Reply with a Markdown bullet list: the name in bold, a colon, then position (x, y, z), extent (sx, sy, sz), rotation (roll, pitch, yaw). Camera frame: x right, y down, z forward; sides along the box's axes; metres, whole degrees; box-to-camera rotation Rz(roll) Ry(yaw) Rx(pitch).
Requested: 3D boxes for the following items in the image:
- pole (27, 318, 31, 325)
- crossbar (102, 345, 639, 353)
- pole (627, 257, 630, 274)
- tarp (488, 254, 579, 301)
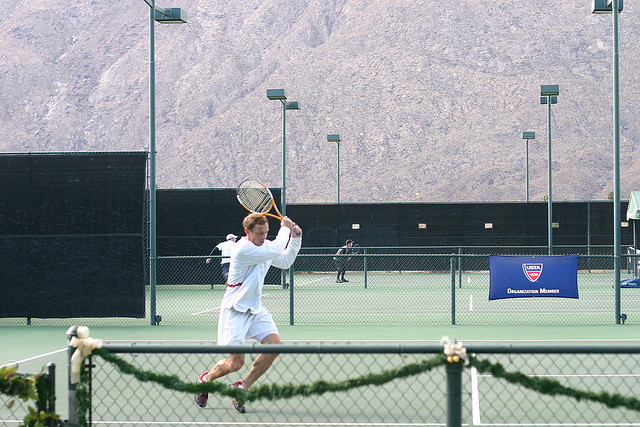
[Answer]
- **pole**: position (-44.070, 16.976, 228.666), extent (0.482, 0.958, 0.232), rotation (-1, 0, -26)
- **crossbar**: position (6.916, 20.329, 219.154), extent (43.648, 1.043, 0.828), rotation (0, -11, 2)
- **pole**: position (48.588, 9.133, 240.732), extent (0.340, 2.490, 0.686), rotation (-1, 0, 7)
- **tarp**: position (31.769, 10.259, 227.942), extent (13.833, 6.836, 1.879), rotation (-1, -6, 18)
